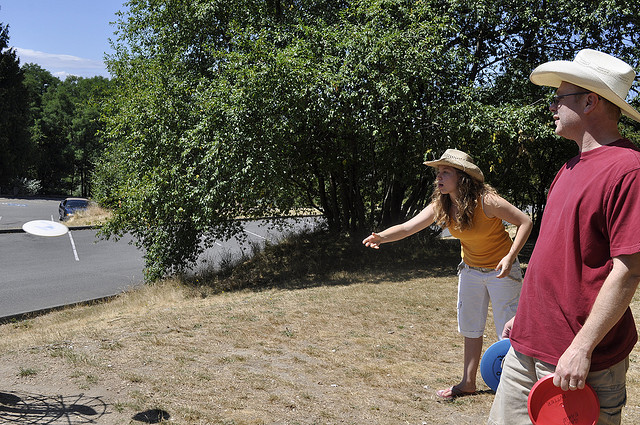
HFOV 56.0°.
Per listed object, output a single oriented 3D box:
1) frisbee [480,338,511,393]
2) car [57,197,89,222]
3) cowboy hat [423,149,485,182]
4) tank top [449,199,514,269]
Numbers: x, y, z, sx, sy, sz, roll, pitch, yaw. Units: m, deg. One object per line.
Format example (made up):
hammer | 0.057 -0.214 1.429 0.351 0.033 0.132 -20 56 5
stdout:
frisbee | 2.427 2.096 8.291 0.650 0.744 0.116 -3 9 -11
car | -14.201 -0.117 34.475 1.020 0.893 2.393 -1 3 -27
cowboy hat | 1.885 -0.683 8.253 0.552 0.232 0.473 20 -3 19
tank top | 2.215 0.181 8.466 0.587 1.038 0.738 -34 14 -26
